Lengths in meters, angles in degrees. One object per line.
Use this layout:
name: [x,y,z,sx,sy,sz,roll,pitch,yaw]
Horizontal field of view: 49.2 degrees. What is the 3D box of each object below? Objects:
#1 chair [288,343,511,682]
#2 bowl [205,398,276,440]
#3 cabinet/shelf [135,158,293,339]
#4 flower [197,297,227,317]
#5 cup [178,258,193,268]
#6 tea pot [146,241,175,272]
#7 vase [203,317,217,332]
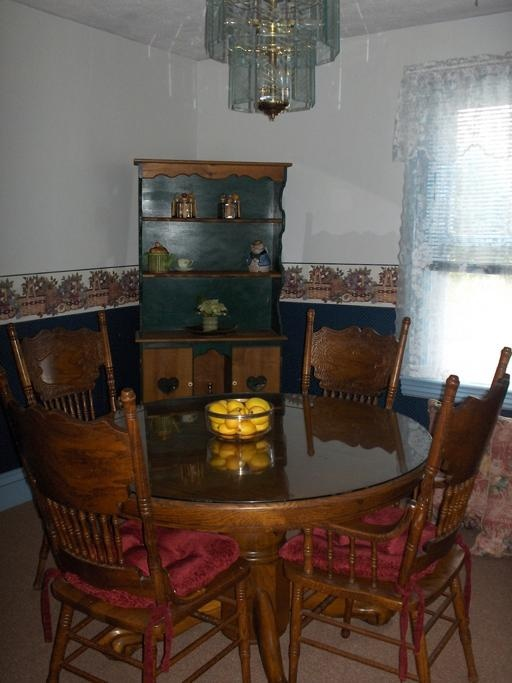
chair: [0.392,0.566,1.633,0.571,1.071,0.632,6,9,21]
bowl: [-0.061,0.227,1.761,0.152,0.066,0.152,-1,3,0]
cabinet/shelf: [-0.305,-0.553,3.647,1.052,1.185,0.363,4,5,-1]
flower: [-0.298,-0.205,3.618,0.154,0.038,0.145,3,53,0]
cup: [-0.465,-0.514,3.702,0.091,0.075,0.195,2,8,-6]
tea pot: [-0.635,-0.519,3.507,0.216,0.200,0.150,-1,4,-19]
vase: [-0.295,-0.110,3.644,0.096,0.094,0.091,2,-1,-18]
